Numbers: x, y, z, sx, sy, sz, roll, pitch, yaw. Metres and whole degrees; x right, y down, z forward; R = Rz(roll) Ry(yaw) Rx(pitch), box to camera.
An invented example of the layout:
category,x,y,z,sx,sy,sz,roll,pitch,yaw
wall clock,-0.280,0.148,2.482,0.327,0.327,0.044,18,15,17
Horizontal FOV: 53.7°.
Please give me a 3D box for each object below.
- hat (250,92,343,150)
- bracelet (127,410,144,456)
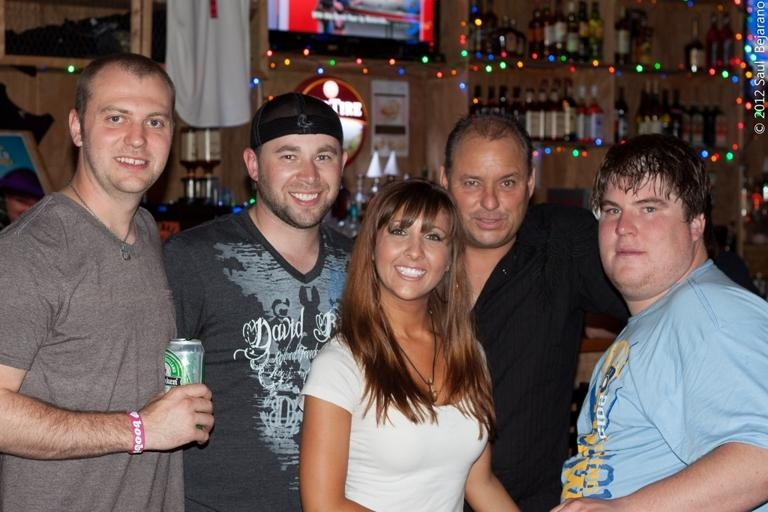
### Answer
category,x,y,z,sx,sy,sz,roll,pitch,yaw
hat,-0.364,-0.567,3.106,0.276,0.172,0.275,0,-1,-10
bracelet,-0.859,0.620,2.650,0.028,0.112,0.105,-4,-7,-24
